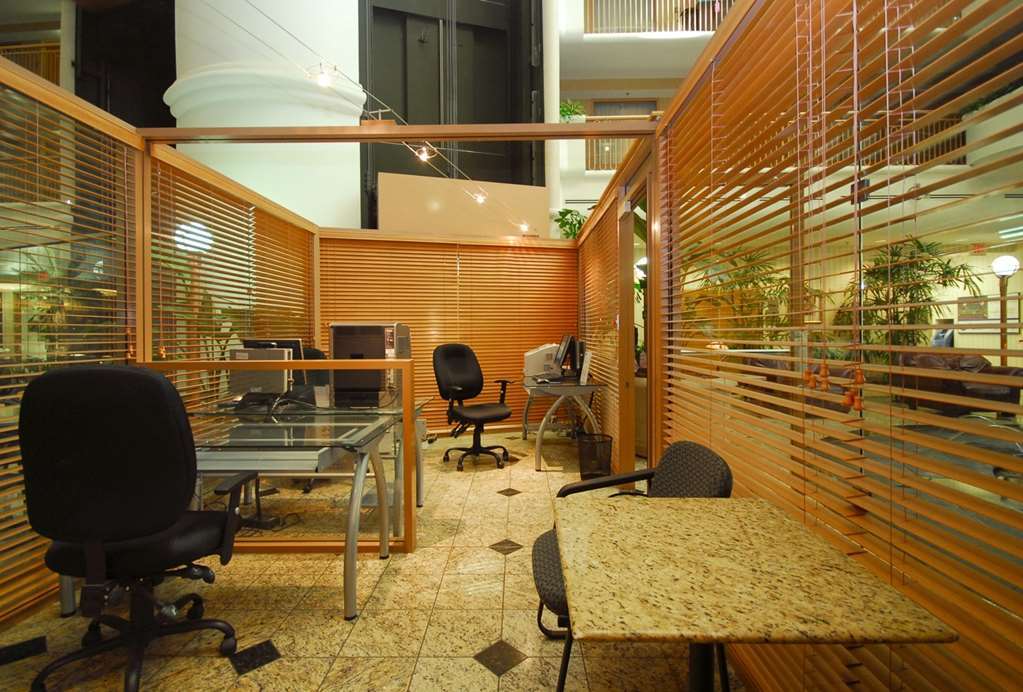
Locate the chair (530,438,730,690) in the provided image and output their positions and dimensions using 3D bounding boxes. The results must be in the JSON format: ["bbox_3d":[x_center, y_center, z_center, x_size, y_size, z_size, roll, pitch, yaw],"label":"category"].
[{"bbox_3d":[0.673,1.122,4.275,1.438,1.360,1.211,-1,-3,-1],"label":"chair"}]

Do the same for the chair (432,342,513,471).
[{"bbox_3d":[-0.390,0.538,7.329,0.739,1.153,1.407,-2,2,0],"label":"chair"}]

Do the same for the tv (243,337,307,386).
[{"bbox_3d":[-1.830,0.030,5.583,0.454,0.525,0.142,-3,0,-5],"label":"tv"}]

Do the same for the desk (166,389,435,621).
[{"bbox_3d":[-1.354,0.852,4.563,1.343,0.729,1.670,0,2,0],"label":"desk"}]

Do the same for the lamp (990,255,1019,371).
[{"bbox_3d":[1.995,-0.141,2.925,0.089,0.448,0.206,0,4,32],"label":"lamp"}]

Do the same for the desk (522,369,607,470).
[{"bbox_3d":[0.447,0.704,7.266,0.751,0.658,1.174,-5,3,-5],"label":"desk"}]

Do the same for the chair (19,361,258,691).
[{"bbox_3d":[-2.031,0.947,3.844,1.024,1.709,0.469,-3,3,-24],"label":"chair"}]

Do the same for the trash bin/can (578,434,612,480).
[{"bbox_3d":[0.653,0.926,6.111,0.401,0.352,0.371,1,-4,-13],"label":"trash bin/can"}]

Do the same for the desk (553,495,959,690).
[{"bbox_3d":[0.953,0.993,3.203,1.174,0.588,1.052,1,6,-2],"label":"desk"}]
